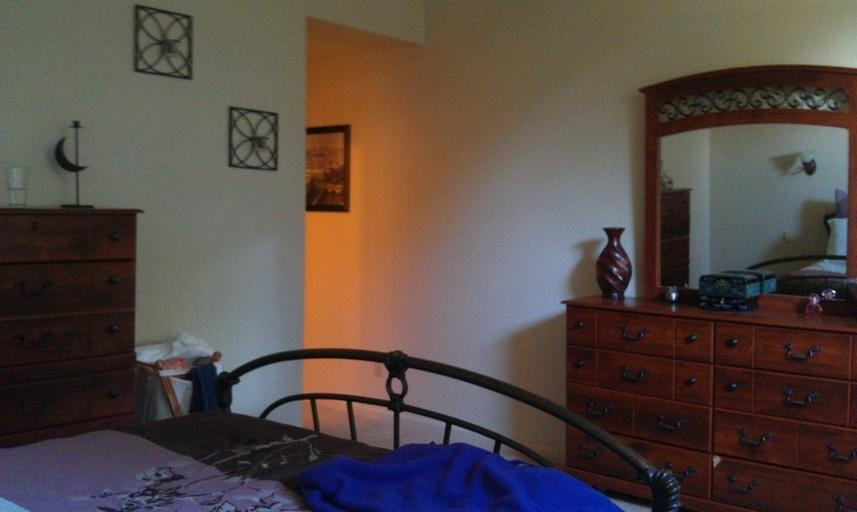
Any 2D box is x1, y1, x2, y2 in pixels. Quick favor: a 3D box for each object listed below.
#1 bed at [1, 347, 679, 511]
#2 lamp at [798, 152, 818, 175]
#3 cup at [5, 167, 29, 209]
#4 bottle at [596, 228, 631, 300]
[{"bbox_3d":[0.019,0.716,3.001,2.213,0.521,0.442,1,5,27],"label":"bed"},{"bbox_3d":[2.357,-0.571,3.907,0.073,0.146,0.045,-27,-5,32],"label":"lamp"},{"bbox_3d":[-2.244,-0.377,3.455,0.096,0.215,0.119,-4,6,-31],"label":"cup"},{"bbox_3d":[1.244,0.051,4.237,0.219,0.478,0.131,0,5,14],"label":"bottle"}]
